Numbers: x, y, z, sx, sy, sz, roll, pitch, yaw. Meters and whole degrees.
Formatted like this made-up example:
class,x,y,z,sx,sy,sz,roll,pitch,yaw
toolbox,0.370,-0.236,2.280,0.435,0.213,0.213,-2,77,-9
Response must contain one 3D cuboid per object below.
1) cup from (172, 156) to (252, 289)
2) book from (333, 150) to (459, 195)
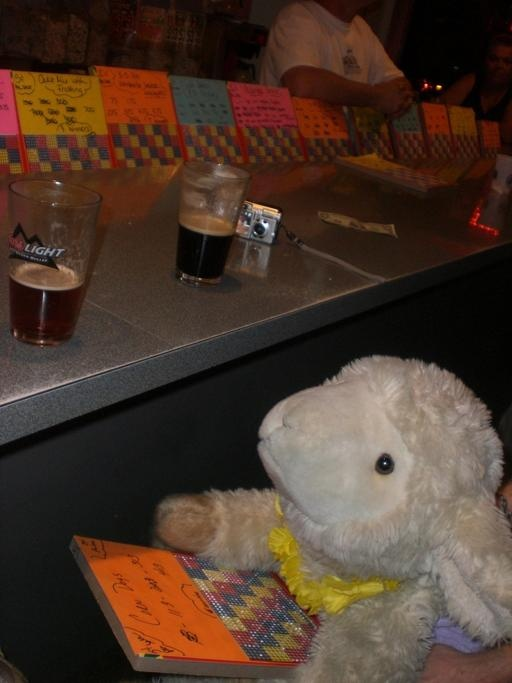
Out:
class,x,y,z,sx,sy,sz,roll,pitch,yaw
cup,-0.072,-0.153,0.806,0.089,0.157,0.115,12,41,-5
book,0.437,-0.564,1.924,0.369,0.063,0.289,29,32,35
